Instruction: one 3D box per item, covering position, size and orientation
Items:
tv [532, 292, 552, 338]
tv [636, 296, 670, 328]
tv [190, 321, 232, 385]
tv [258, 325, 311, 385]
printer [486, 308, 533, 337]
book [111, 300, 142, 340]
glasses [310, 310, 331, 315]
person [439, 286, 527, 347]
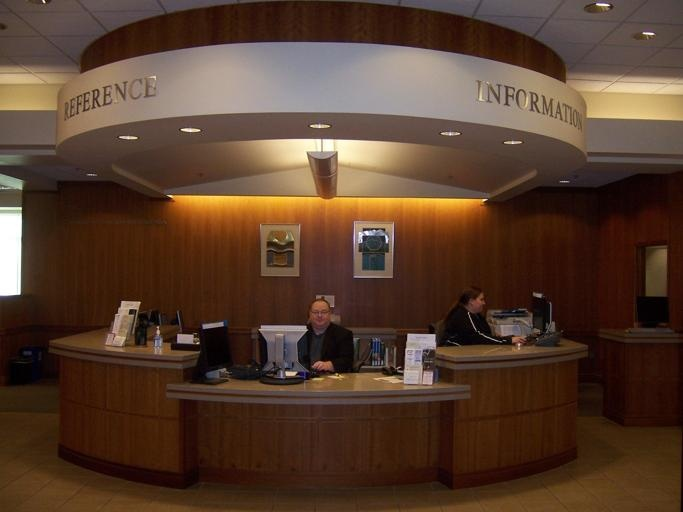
[{"bbox_3d":[2.774,0.854,8.257,0.189,0.544,0.618,-1,1,9],"label":"tv"},{"bbox_3d":[4.775,0.859,9.088,0.465,0.487,0.159,1,-10,8],"label":"tv"},{"bbox_3d":[-1.507,1.151,6.823,0.373,0.813,0.695,-4,-7,19],"label":"tv"},{"bbox_3d":[-0.626,1.072,6.895,0.623,0.665,0.581,1,6,4],"label":"tv"},{"bbox_3d":[2.798,1.083,9.559,0.532,0.588,0.567,1,-8,-11],"label":"printer"},{"bbox_3d":[-2.732,0.811,7.481,0.276,0.422,0.364,0,-2,1],"label":"book"},{"bbox_3d":[-0.270,0.735,7.536,0.231,0.068,0.173,1,-2,-12],"label":"glasses"},{"bbox_3d":[1.893,0.844,8.051,1.024,0.767,0.780,3,8,21],"label":"person"}]
